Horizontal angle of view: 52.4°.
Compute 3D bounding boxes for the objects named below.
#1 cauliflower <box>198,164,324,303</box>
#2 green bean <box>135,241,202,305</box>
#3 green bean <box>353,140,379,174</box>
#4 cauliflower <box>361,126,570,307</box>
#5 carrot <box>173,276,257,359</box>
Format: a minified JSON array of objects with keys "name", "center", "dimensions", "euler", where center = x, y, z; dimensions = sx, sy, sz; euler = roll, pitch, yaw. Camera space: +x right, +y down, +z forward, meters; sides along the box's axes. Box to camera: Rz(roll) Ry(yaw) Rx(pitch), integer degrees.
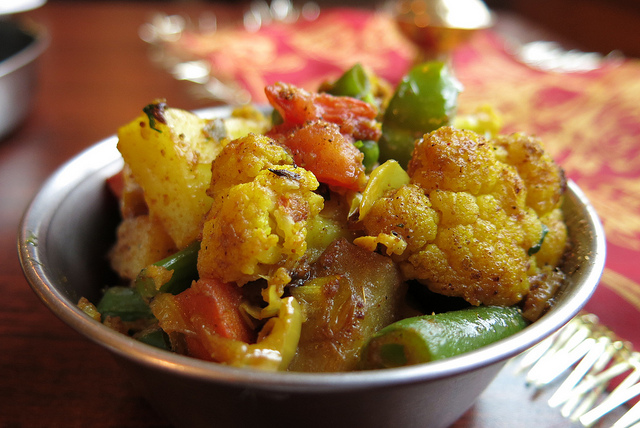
[{"name":"cauliflower","center":[-0.137,0.014,1.586],"dimensions":[0.333,0.212,0.306],"euler":[-4,100,-11]},{"name":"green bean","center":[-0.370,0.153,1.679],"dimensions":[0.214,0.062,0.113],"euler":[-26,78,-7]},{"name":"green bean","center":[0.134,-0.170,1.845],"dimensions":[0.082,0.085,0.093],"euler":[0,95,-10]},{"name":"cauliflower","center":[0.433,-0.015,1.718],"dimensions":[0.475,0.238,0.527],"euler":[37,61,19]},{"name":"carrot","center":[-0.241,0.251,1.615],"dimensions":[0.200,0.111,0.188],"euler":[-17,59,-15]}]
